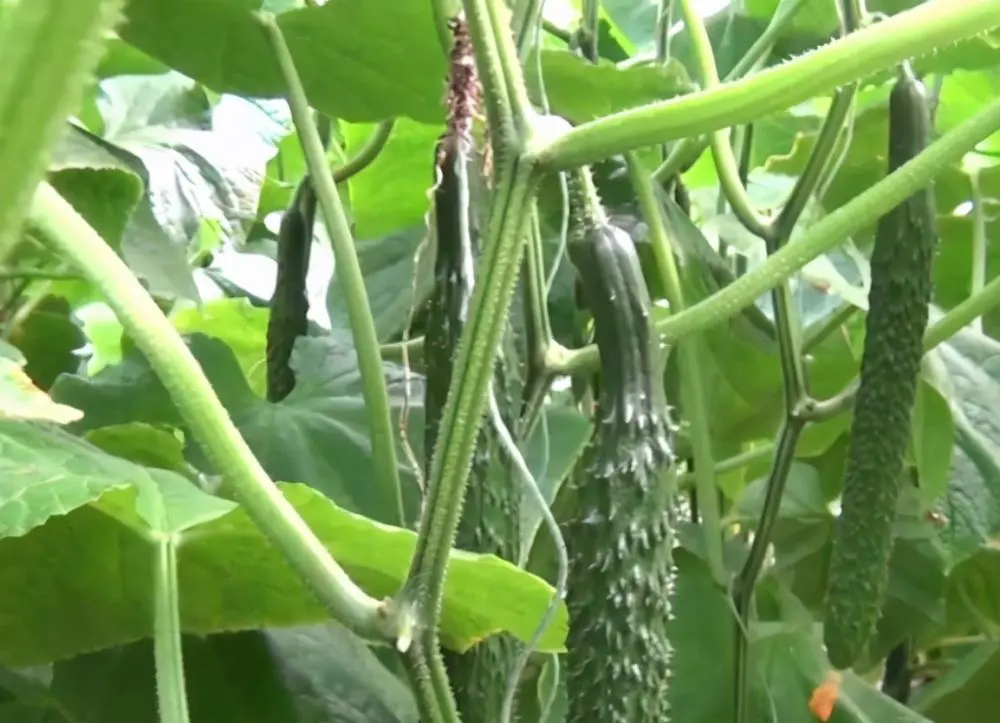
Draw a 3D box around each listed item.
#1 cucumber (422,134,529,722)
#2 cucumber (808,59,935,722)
[{"bbox_3d":[-0.023,0.041,0.708,0.056,0.298,0.134,-1,-22,9],"label":"cucumber"},{"bbox_3d":[0.217,0.018,0.811,0.045,0.434,0.062,10,7,13],"label":"cucumber"}]
